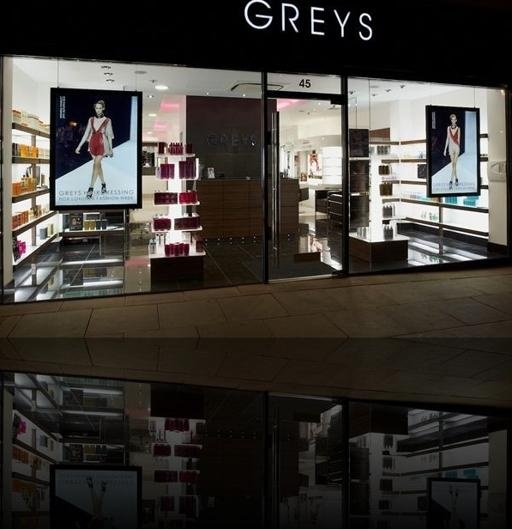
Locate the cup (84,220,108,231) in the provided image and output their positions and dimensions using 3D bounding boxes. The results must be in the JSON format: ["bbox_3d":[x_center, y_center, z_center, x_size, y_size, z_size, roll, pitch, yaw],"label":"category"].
[{"bbox_3d":[-1.763,-0.445,5.642,0.248,0.124,0.062,-3,6,-22],"label":"cup"}]

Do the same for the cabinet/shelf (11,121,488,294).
[{"bbox_3d":[-0.222,-0.982,8.114,5.998,1.882,4.212,-3,8,-18],"label":"cabinet/shelf"}]
